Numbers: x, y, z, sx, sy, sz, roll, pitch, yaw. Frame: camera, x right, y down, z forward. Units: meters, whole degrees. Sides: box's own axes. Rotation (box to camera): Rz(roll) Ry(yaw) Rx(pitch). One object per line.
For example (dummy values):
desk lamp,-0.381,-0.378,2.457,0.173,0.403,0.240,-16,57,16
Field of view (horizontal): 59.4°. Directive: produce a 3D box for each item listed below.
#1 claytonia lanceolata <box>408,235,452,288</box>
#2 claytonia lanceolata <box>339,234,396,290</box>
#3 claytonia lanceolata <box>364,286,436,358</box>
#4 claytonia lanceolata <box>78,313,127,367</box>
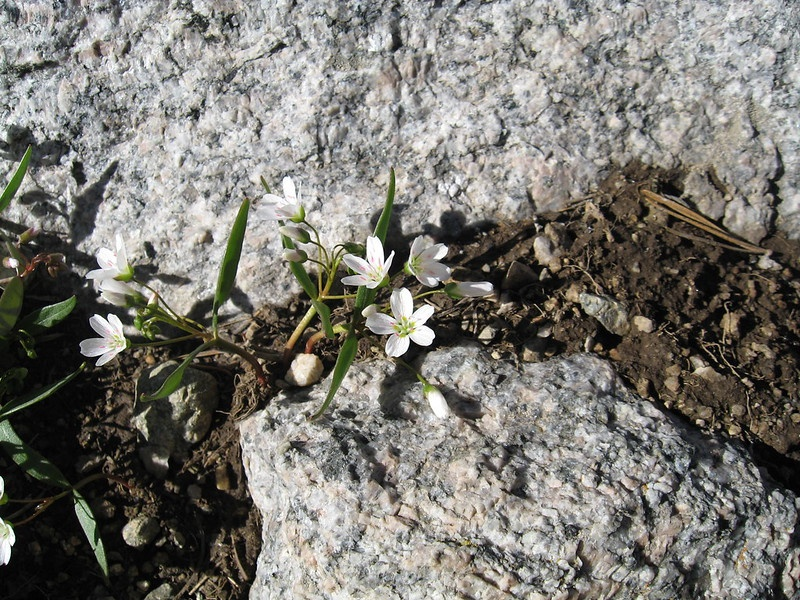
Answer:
claytonia lanceolata,0.115,-0.188,3.668,0.245,0.129,0.259,-16,85,-38
claytonia lanceolata,-0.156,-0.172,3.683,0.260,0.150,0.268,33,88,45
claytonia lanceolata,0.016,0.140,3.580,0.338,0.121,0.395,-27,46,-33
claytonia lanceolata,-1.569,0.221,3.781,0.277,0.151,0.294,-8,78,37
